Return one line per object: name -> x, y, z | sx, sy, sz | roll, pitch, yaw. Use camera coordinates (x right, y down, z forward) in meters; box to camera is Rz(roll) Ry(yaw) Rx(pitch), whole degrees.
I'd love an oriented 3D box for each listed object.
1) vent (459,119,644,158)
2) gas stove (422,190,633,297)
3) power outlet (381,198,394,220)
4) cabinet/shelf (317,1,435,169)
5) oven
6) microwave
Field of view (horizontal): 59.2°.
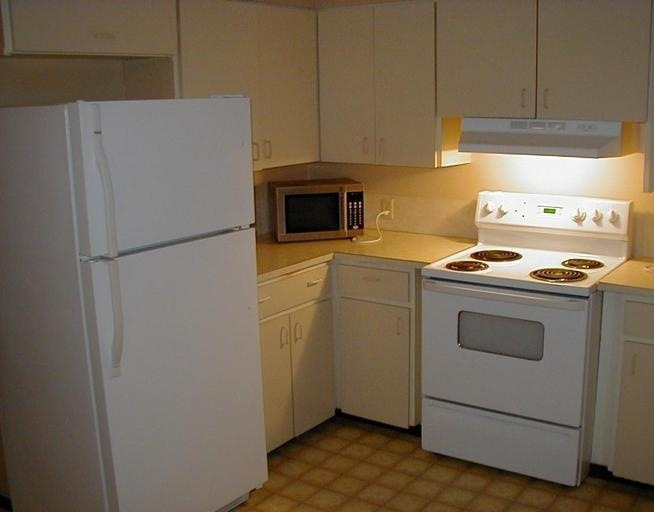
vent -> 1.119, -0.635, 3.066 | 0.832, 0.200, 0.204 | 5, 16, 24
gas stove -> 1.115, -0.094, 3.148 | 0.875, 0.340, 0.791 | 6, 18, 41
power outlet -> 0.416, -0.325, 3.951 | 0.120, 0.226, 0.018 | 5, 9, 38
cabinet/shelf -> 0.320, -1.084, 3.518 | 0.856, 1.133, 0.408 | 4, 11, 26
oven -> 1.071, 0.548, 3.225 | 0.889, 0.869, 0.723 | 2, 0, 39
microwave -> -0.035, -0.285, 3.660 | 0.567, 0.401, 0.378 | -5, 15, -17
